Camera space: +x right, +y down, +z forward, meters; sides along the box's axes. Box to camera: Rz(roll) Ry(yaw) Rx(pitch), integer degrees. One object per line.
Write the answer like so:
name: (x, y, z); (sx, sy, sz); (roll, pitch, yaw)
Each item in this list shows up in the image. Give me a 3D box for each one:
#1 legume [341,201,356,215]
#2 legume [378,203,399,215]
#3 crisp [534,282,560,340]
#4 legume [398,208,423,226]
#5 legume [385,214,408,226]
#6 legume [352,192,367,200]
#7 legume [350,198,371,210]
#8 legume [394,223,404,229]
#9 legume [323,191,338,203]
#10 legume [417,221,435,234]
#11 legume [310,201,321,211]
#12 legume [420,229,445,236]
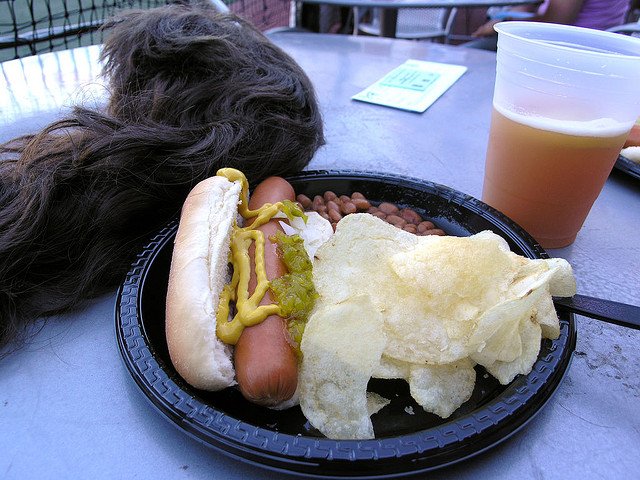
legume: (0.107, -0.119, 1.852); (0.039, 0.025, 0.051); (2, 47, 1)
legume: (0.255, -0.117, 1.859); (0.054, 0.026, 0.042); (24, 41, 27)
crisp: (0.629, 0.209, 1.378); (0.054, 0.050, 0.182); (-18, 40, 31)
legume: (0.332, -0.088, 1.830); (0.092, 0.050, 0.046); (29, 42, 24)
legume: (0.274, -0.072, 1.802); (0.066, 0.034, 0.025); (17, 87, 17)
legume: (0.158, -0.176, 1.898); (0.034, 0.016, 0.029); (20, 36, 13)
legume: (0.155, -0.137, 1.872); (0.059, 0.032, 0.035); (22, 30, 11)
legume: (0.285, -0.051, 1.791); (0.015, 0.010, 0.029); (-14, 32, -22)
legume: (0.038, -0.173, 1.916); (0.035, 0.026, 0.046); (-8, 39, 0)
legume: (0.379, -0.047, 1.796); (0.038, 0.031, 0.051); (1, 13, 20)
legume: (-0.021, -0.132, 1.894); (0.029, 0.022, 0.040); (1, 76, 10)
legume: (0.400, -0.032, 1.755); (0.061, 0.033, 0.030); (0, 4, 25)
